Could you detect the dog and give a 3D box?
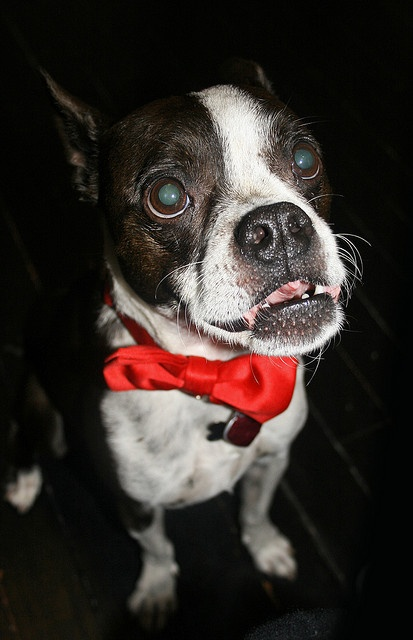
[{"bbox_3d":[-0.112,0.144,2.910,1.326,2.477,1.633,32,47,33],"label":"dog"}]
